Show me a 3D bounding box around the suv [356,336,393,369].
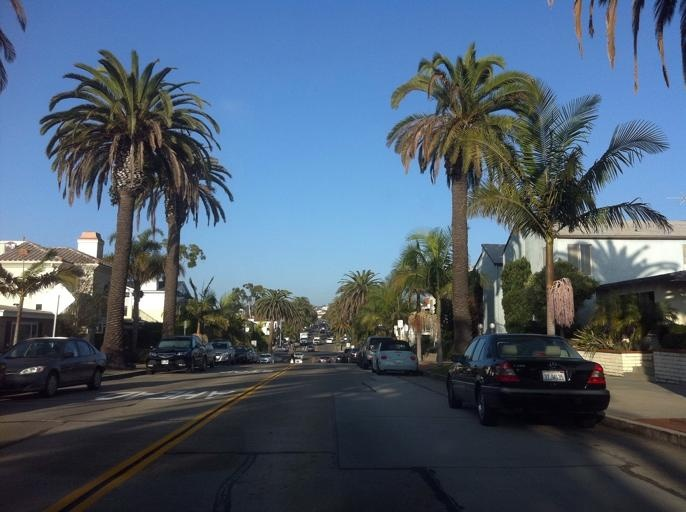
[{"bbox_3d":[1.521,5.722,32.376,1.261,1.430,2.884,2,-7,-3],"label":"suv"}]

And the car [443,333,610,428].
[{"bbox_3d":[3.712,2.688,12.595,1.574,1.374,3.827,0,-9,-3],"label":"car"}]
